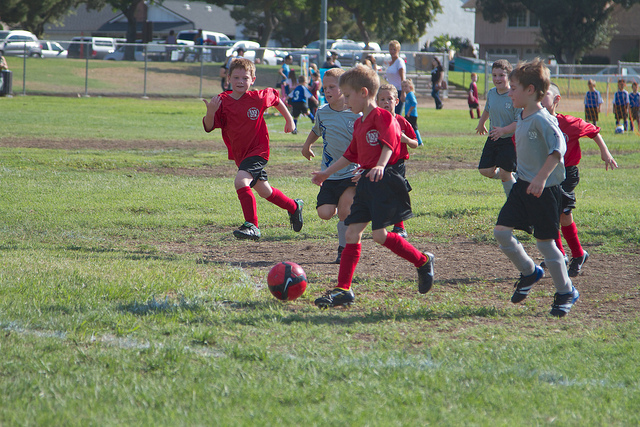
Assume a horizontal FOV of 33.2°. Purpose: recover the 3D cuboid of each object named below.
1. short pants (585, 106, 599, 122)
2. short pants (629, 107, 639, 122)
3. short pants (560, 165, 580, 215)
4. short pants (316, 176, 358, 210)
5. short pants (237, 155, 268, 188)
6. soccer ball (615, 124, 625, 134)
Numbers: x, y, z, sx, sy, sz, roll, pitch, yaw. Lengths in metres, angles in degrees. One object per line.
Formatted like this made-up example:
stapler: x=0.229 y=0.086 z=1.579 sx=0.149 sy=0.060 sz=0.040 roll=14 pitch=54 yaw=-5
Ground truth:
short pants: x=8.459 y=-3.080 z=33.255 sx=0.359 sy=0.640 sz=0.367 roll=-7 pitch=17 yaw=24
short pants: x=9.397 y=-2.940 z=31.992 sx=0.279 sy=0.429 sz=0.705 roll=5 pitch=8 yaw=15
short pants: x=3.995 y=-0.368 z=17.232 sx=0.214 sy=0.793 sz=0.509 roll=9 pitch=10 yaw=40
short pants: x=0.270 y=-0.317 z=17.690 sx=0.760 sy=0.726 sz=0.433 roll=0 pitch=-9 yaw=-3
short pants: x=-1.143 y=-0.731 z=18.493 sx=0.547 sy=0.465 sz=0.451 roll=12 pitch=11 yaw=-27
soccer ball: x=8.641 y=-2.388 z=30.806 sx=0.304 sy=0.194 sz=0.371 roll=0 pitch=4 yaw=10
